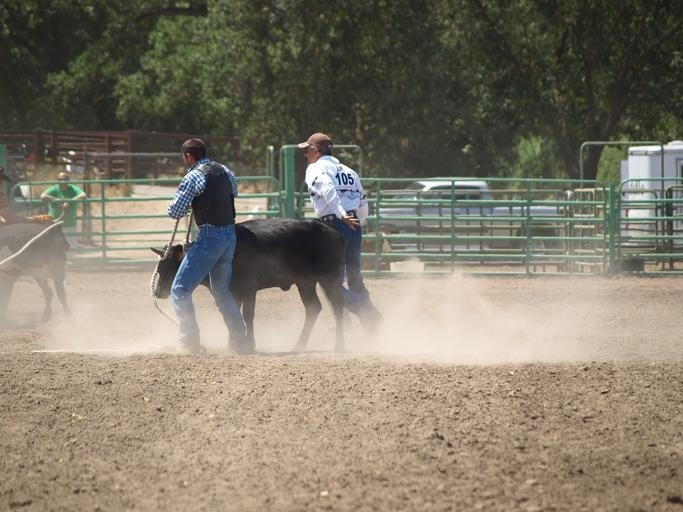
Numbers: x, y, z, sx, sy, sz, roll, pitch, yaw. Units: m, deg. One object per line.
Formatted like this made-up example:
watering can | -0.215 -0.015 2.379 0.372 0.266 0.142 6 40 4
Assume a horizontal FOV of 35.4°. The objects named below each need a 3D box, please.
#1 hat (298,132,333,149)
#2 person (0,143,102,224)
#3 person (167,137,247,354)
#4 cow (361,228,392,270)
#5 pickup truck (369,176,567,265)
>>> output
hat | -0.400 -1.762 16.009 0.464 0.240 0.308 3 -1 4
person | -5.615 -1.173 21.407 1.977 1.018 1.485 1 -1 -31
person | -1.913 -0.125 15.199 1.048 3.049 0.383 -2 7 -10
cow | 0.703 -0.088 21.370 0.737 1.019 0.575 2 -3 -4
pickup truck | 2.675 -0.851 22.521 3.628 1.902 5.688 1 8 11
